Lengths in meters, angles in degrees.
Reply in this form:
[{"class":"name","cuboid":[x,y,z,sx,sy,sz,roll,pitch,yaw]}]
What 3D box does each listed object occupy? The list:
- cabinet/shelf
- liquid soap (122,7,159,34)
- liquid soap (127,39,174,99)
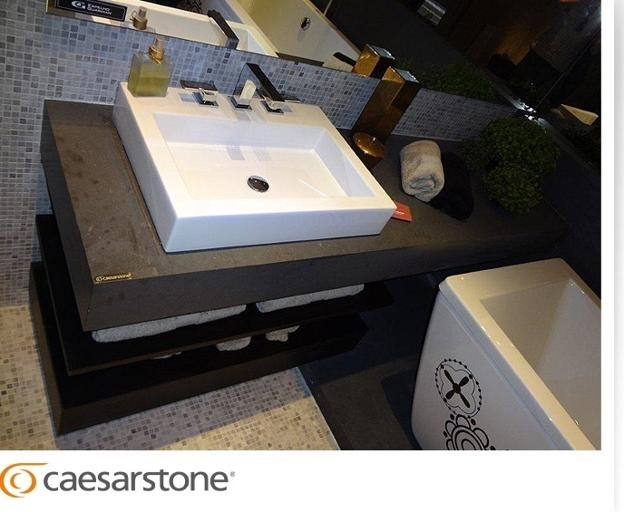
[{"class":"cabinet/shelf","cuboid":[-0.062,0.068,1.506,1.652,0.229,0.777,-6,63,-34]},{"class":"liquid soap","cuboid":[-0.494,-0.674,1.229,0.064,0.060,0.046,43,40,19]},{"class":"liquid soap","cuboid":[-0.471,-0.569,1.246,0.113,0.168,0.136,4,43,-28]}]
